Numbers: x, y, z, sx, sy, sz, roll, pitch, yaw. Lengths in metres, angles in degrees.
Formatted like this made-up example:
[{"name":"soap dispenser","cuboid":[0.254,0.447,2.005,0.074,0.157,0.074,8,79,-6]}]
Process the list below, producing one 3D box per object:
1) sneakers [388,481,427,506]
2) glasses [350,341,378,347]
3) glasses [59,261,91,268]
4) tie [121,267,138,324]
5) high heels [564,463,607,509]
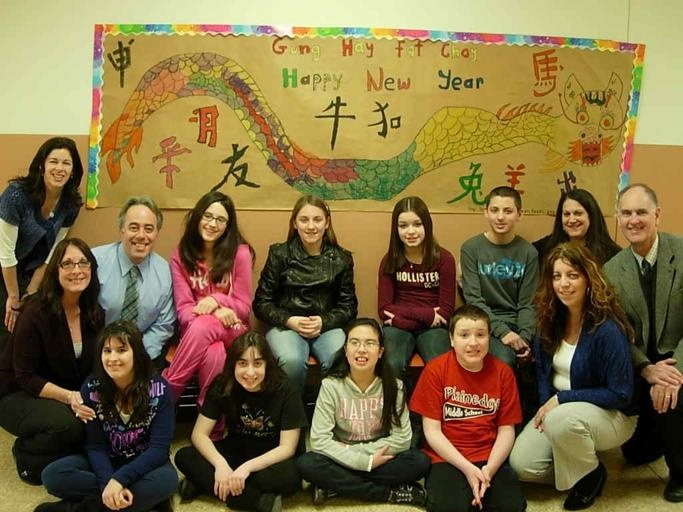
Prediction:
[{"name":"sneakers","cuboid":[0.319,1.134,2.752,0.174,0.083,0.076,-4,9,11]},{"name":"glasses","cuboid":[0.115,0.434,2.833,0.126,0.033,0.040,1,9,0]},{"name":"glasses","cuboid":[-1.310,0.044,2.827,0.129,0.041,0.039,-4,10,-28]},{"name":"tie","cuboid":[-1.142,0.210,3.145,0.081,0.298,0.112,3,10,13]},{"name":"high heels","cuboid":[1.158,1.089,2.730,0.210,0.089,0.071,-42,35,-6]}]
